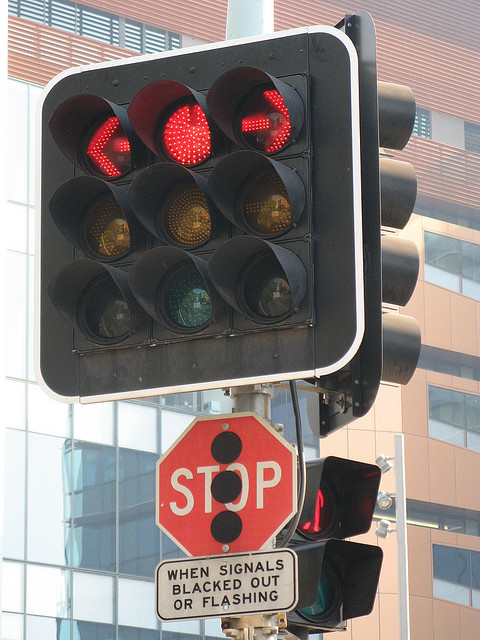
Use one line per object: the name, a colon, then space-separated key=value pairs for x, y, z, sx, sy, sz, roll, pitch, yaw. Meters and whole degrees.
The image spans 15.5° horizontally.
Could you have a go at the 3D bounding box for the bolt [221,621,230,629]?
bolt: x=-0.060 y=1.275 z=7.618 sx=0.037 sy=0.039 sz=0.034 roll=-9 pitch=68 yaw=-6

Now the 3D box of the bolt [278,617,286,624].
bolt: x=0.184 y=1.265 z=7.655 sx=0.025 sy=0.012 sz=0.025 roll=-5 pitch=70 yaw=-4

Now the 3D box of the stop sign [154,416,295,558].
stop sign: x=-0.061 y=0.692 z=7.757 sx=0.603 sy=0.197 sz=0.589 roll=-1 pitch=71 yaw=-3

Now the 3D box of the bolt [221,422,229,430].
bolt: x=-0.064 y=0.444 z=7.829 sx=0.033 sy=0.009 sz=0.030 roll=0 pitch=71 yaw=-3

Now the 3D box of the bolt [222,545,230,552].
bolt: x=-0.059 y=0.961 z=7.682 sx=0.030 sy=0.008 sz=0.031 roll=0 pitch=71 yaw=-3

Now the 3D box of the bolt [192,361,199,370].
bolt: x=-0.193 y=0.177 z=7.737 sx=0.026 sy=0.021 sz=0.035 roll=0 pitch=83 yaw=12

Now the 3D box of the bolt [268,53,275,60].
bolt: x=0.145 y=-1.193 z=7.951 sx=0.024 sy=0.008 sz=0.027 roll=8 pitch=70 yaw=0

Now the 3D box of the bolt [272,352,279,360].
bolt: x=0.156 y=0.134 z=7.653 sx=0.027 sy=0.011 sz=0.029 roll=2 pitch=70 yaw=-2

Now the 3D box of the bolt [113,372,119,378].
bolt: x=-0.544 y=0.221 z=7.834 sx=0.021 sy=0.007 sz=0.022 roll=4 pitch=71 yaw=-1

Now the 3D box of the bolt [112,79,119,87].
bolt: x=-0.575 y=-1.108 z=8.225 sx=0.033 sy=0.015 sz=0.032 roll=19 pitch=70 yaw=4

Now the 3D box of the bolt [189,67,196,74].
bolt: x=-0.215 y=-1.146 z=8.074 sx=0.031 sy=0.011 sz=0.028 roll=37 pitch=73 yaw=10
